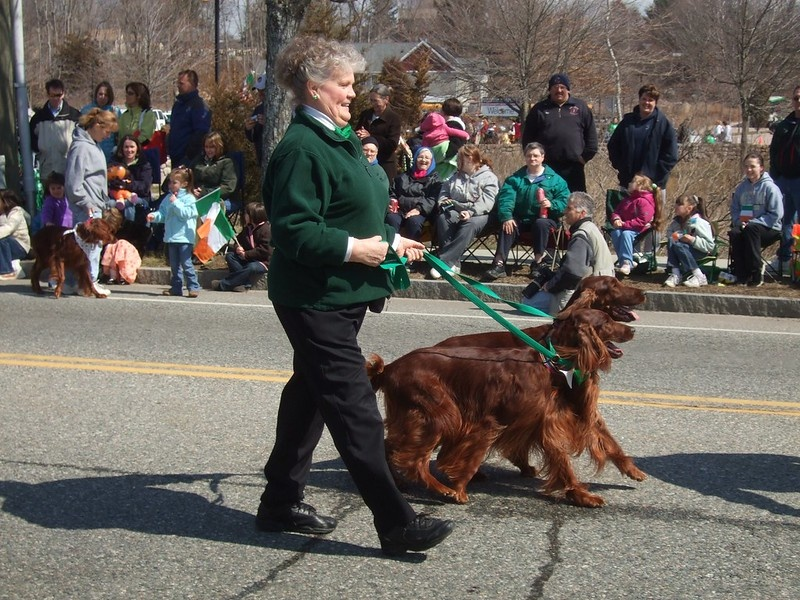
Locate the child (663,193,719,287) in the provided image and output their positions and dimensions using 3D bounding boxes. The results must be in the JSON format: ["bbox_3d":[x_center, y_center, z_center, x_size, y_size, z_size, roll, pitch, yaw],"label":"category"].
[{"bbox_3d":[3.568,-0.726,13.793,0.592,1.096,0.613,3,8,13],"label":"child"}]

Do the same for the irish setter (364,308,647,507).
[{"bbox_3d":[0.654,0.673,7.901,1.925,1.280,0.788,3,3,-9],"label":"irish setter"}]

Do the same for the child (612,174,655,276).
[{"bbox_3d":[2.974,-0.975,14.289,0.500,1.191,0.449,1,8,-5],"label":"child"}]

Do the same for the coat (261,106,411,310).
[{"bbox_3d":[-0.469,-0.626,7.286,0.859,1.162,1.230,5,9,12],"label":"coat"}]

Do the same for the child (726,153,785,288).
[{"bbox_3d":[4.369,-0.994,13.994,0.641,1.537,0.888,0,11,38],"label":"child"}]

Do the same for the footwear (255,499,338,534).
[{"bbox_3d":[-0.685,1.409,7.383,0.571,0.242,0.194,2,5,-3],"label":"footwear"}]

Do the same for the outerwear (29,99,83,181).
[{"bbox_3d":[-4.937,-2.085,16.293,0.805,1.532,0.484,-3,4,-2],"label":"outerwear"}]

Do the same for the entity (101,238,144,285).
[{"bbox_3d":[-3.540,-0.469,14.268,0.609,0.601,0.355,-5,6,-17],"label":"entity"}]

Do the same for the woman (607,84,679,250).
[{"bbox_3d":[3.211,-1.616,14.867,0.994,2.390,0.733,5,16,33],"label":"woman"}]

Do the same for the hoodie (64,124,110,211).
[{"bbox_3d":[-3.898,-1.603,14.041,0.532,1.033,0.783,8,15,3],"label":"hoodie"}]

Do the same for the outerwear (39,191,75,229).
[{"bbox_3d":[-4.400,-1.152,14.489,0.597,0.528,0.308,-1,2,-19],"label":"outerwear"}]

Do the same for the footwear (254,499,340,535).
[{"bbox_3d":[-0.676,1.412,7.379,0.564,0.235,0.196,2,5,-3],"label":"footwear"}]

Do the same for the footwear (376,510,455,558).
[{"bbox_3d":[0.101,1.454,7.096,0.491,0.226,0.205,-16,14,15],"label":"footwear"}]

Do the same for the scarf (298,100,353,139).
[{"bbox_3d":[-0.467,-1.105,7.039,0.264,0.133,0.209,31,9,-3],"label":"scarf"}]

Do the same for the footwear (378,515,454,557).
[{"bbox_3d":[0.103,1.438,7.060,0.539,0.246,0.203,-20,-5,32],"label":"footwear"}]

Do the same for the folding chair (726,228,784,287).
[{"bbox_3d":[4.352,-0.567,13.846,0.604,0.754,0.366,2,8,6],"label":"folding chair"}]

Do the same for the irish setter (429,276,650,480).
[{"bbox_3d":[1.059,0.677,8.561,0.750,1.307,2.149,11,-12,-26],"label":"irish setter"}]

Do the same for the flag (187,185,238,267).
[{"bbox_3d":[-2.335,-0.994,14.139,0.572,1.225,0.164,23,-48,-34],"label":"flag"}]
